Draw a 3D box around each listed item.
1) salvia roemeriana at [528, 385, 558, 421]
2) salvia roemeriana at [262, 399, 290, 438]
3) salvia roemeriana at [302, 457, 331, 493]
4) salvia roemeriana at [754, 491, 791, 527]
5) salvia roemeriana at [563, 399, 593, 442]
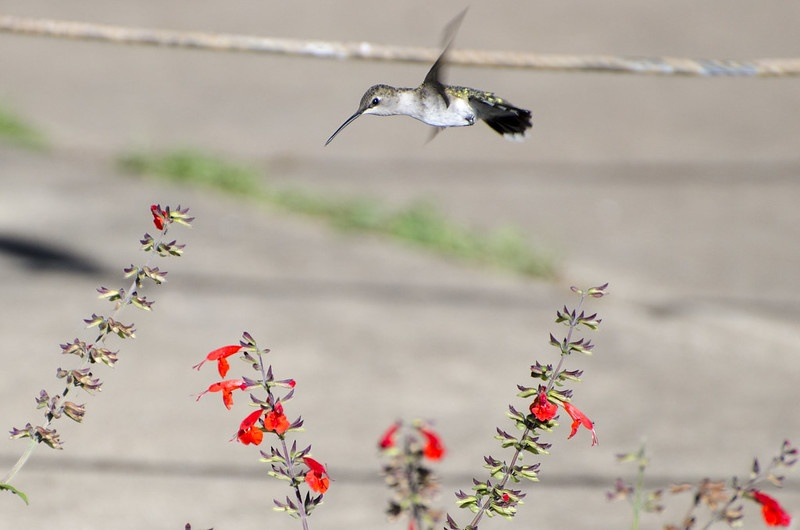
[{"bbox_3d":[1.016,0.982,11.755,0.178,0.225,0.164,-6,15,5],"label":"salvia roemeriana"},{"bbox_3d":[-0.881,1.120,11.679,0.191,0.278,0.116,-15,-18,-5],"label":"salvia roemeriana"},{"bbox_3d":[-0.581,1.521,11.752,0.172,0.265,0.094,-23,-50,14],"label":"salvia roemeriana"},{"bbox_3d":[2.657,1.774,11.747,0.303,0.079,0.200,44,-40,-8],"label":"salvia roemeriana"},{"bbox_3d":[1.301,1.162,11.865,0.230,0.290,0.455,2,-23,9],"label":"salvia roemeriana"}]
